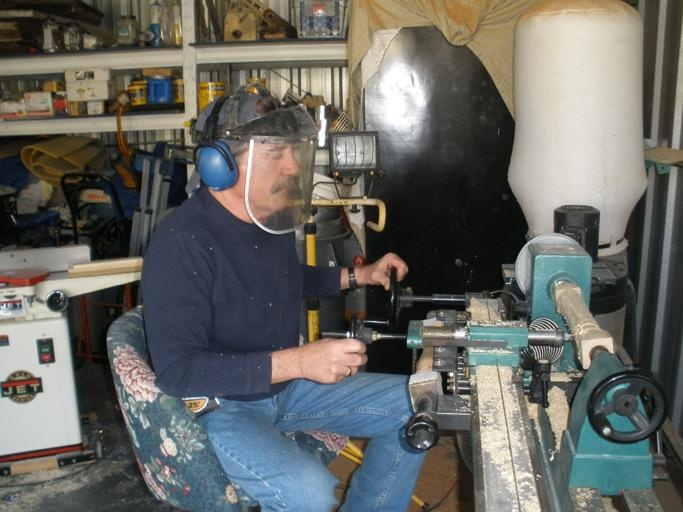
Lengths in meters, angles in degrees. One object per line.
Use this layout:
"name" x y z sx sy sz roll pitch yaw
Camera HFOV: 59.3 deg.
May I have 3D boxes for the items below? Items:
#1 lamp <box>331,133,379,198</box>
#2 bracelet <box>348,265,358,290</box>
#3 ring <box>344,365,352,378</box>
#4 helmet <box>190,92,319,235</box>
"lamp" 0.047 -0.435 2.979 0.285 0.309 0.169 -1 10 -7
"bracelet" 0.047 0.099 2.584 0.043 0.083 0.083 0 29 2
"ring" 0.021 0.390 1.992 0.015 0.042 0.028 11 16 6
"helmet" -0.289 -0.339 2.122 0.444 0.526 0.175 -6 9 -16
